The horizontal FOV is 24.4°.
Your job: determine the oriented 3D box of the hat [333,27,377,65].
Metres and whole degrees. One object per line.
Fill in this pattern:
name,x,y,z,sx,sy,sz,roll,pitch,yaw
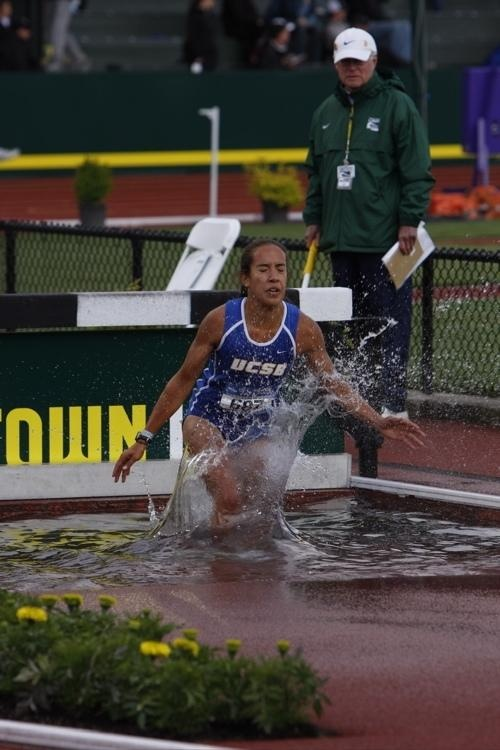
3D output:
hat,0.567,-1.790,6.287,0.212,0.218,0.259,1,4,6

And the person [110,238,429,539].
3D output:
person,-0.007,0.051,4.739,1.080,1.167,0.688,0,4,-7

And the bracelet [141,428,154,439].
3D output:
bracelet,-0.395,0.241,4.520,0.043,0.030,0.045,30,-28,-26

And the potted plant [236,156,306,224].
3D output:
potted plant,0.327,-2.607,16.347,0.945,0.974,0.816,-1,7,-5

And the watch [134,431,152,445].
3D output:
watch,-0.416,0.247,4.518,0.063,0.043,0.061,-5,-6,-21
